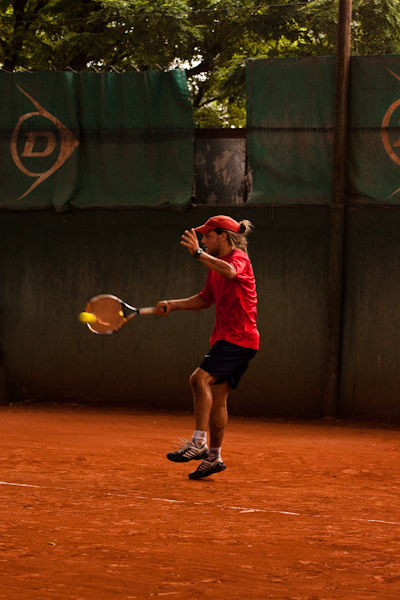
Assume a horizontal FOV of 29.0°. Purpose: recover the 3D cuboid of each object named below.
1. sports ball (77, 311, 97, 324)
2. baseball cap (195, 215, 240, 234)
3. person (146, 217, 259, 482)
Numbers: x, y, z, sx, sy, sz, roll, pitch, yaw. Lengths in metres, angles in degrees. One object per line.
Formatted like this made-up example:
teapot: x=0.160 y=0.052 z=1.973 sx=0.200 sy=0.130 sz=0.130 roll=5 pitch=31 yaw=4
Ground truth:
sports ball: x=-0.871 y=0.135 z=5.952 sx=0.150 sy=0.089 sz=0.143 roll=18 pitch=-6 yaw=2
baseball cap: x=0.126 y=-0.486 z=4.998 sx=0.238 sy=0.094 sz=0.143 roll=3 pitch=-4 yaw=-1
person: x=0.069 y=0.317 z=4.853 sx=0.602 sy=1.249 sz=0.705 roll=2 pitch=1 yaw=-11
